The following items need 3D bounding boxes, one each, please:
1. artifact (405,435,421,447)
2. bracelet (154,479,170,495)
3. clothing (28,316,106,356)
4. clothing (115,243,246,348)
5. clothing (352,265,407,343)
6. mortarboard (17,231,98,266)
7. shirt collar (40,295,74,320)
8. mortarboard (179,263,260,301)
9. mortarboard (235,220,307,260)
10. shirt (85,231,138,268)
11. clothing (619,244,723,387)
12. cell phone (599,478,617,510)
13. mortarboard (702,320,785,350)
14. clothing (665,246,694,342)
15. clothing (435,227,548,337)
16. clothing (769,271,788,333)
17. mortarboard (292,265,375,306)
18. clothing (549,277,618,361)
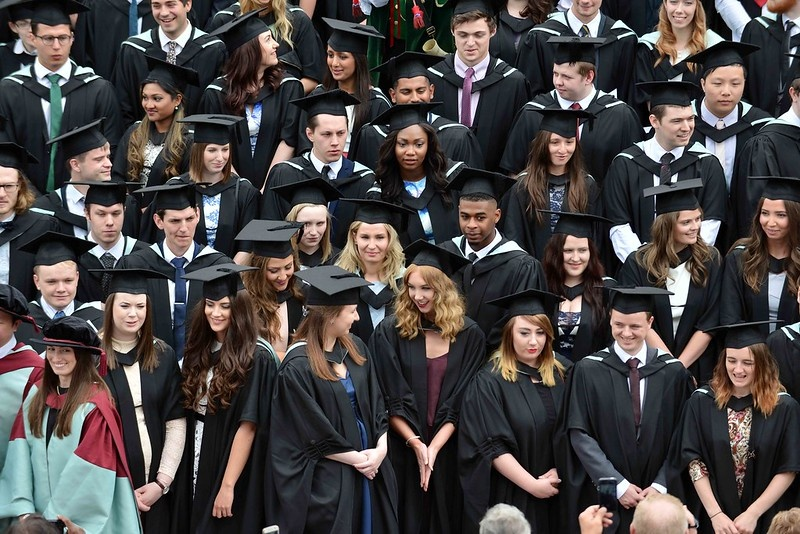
[{"bbox_3d":[0.112,1.549,8.170,0.114,0.090,0.031,-13,35,11],"label":"artifact"},{"bbox_3d":[-2.027,1.858,7.781,0.105,0.112,0.068,31,29,16],"label":"bracelet"},{"bbox_3d":[-2.657,0.527,7.342,0.615,0.247,0.600,24,-13,-29],"label":"clothing"},{"bbox_3d":[-1.982,0.210,8.982,0.413,0.760,0.771,5,0,22],"label":"clothing"},{"bbox_3d":[-0.189,0.370,8.522,0.464,0.629,0.355,32,-13,-39],"label":"clothing"},{"bbox_3d":[-3.180,-0.146,8.524,0.635,0.318,0.278,4,-10,-23],"label":"mortarboard"},{"bbox_3d":[-3.138,0.374,8.403,0.274,0.377,0.182,-3,-1,-11],"label":"shirt collar"},{"bbox_3d":[-1.587,0.102,7.957,0.421,0.208,0.645,5,15,25],"label":"mortarboard"},{"bbox_3d":[-1.209,-0.280,8.398,0.412,0.152,0.408,4,22,8],"label":"mortarboard"},{"bbox_3d":[-2.830,-0.158,8.897,0.533,0.313,0.172,-4,2,-8],"label":"shirt"},{"bbox_3d":[2.738,0.797,9.132,0.975,2.114,0.677,-4,24,6],"label":"clothing"},{"bbox_3d":[1.484,1.634,6.562,0.129,0.228,0.024,-3,-26,16],"label":"cell phone"},{"bbox_3d":[2.956,0.594,8.061,0.382,0.113,0.393,-11,-2,33],"label":"mortarboard"},{"bbox_3d":[2.651,0.238,8.776,0.321,0.654,0.189,3,-1,20],"label":"clothing"},{"bbox_3d":[0.834,0.174,8.581,0.770,0.733,0.326,-27,0,22],"label":"clothing"},{"bbox_3d":[3.526,0.290,8.621,0.238,0.480,0.116,1,-3,22],"label":"clothing"},{"bbox_3d":[-0.563,0.167,7.883,0.497,0.182,0.527,-15,29,-13],"label":"mortarboard"},{"bbox_3d":[1.633,0.540,8.792,0.617,0.785,0.408,1,11,14],"label":"clothing"}]
